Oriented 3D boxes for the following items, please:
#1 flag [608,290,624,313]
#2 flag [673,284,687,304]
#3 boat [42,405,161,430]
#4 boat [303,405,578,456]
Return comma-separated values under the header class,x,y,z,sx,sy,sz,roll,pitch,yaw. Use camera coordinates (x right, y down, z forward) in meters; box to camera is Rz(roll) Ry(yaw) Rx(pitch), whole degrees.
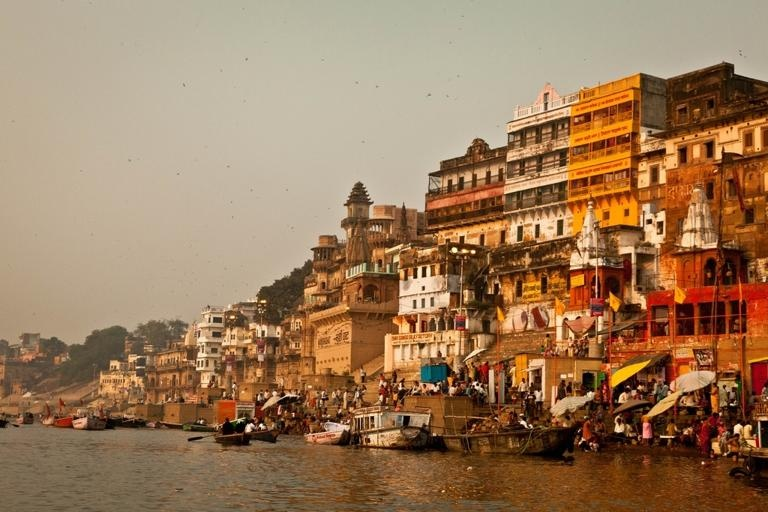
class,x,y,z,sx,sy,sz,roll,pitch,yaw
flag,16.065,3.235,92.563,0.173,1.954,1.460,14,-13,-35
flag,19.089,2.579,86.210,0.767,1.217,1.923,-2,-17,12
boat,-29.303,17.029,140.935,5.067,3.464,19.890,14,-17,-38
boat,3.325,11.348,84.432,18.775,3.146,4.588,-8,-9,39
